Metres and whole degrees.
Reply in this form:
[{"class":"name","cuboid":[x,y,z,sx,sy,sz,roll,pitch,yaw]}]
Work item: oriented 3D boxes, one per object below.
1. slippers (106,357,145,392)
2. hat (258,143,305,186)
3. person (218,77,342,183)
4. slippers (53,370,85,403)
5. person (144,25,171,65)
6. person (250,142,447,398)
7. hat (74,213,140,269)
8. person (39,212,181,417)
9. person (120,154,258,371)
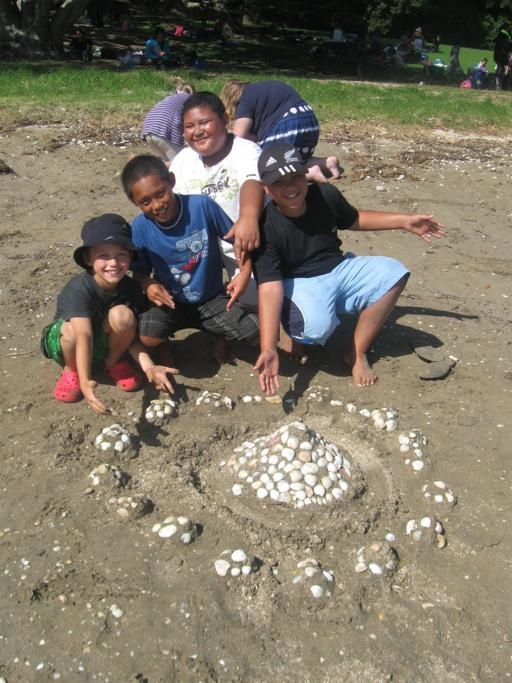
[{"class":"slippers","cuboid":[-0.623,0.164,2.950,0.108,0.074,0.198,-27,33,-21]},{"class":"hat","cuboid":[0.113,-0.775,2.725,0.185,0.172,0.213,-2,22,-9]},{"class":"person","cuboid":[0.150,-1.287,3.721,0.506,0.502,1.075,-31,41,-33]},{"class":"slippers","cuboid":[-0.867,0.207,2.844,0.102,0.074,0.181,0,23,-8]},{"class":"person","cuboid":[-2.070,-6.136,12.940,0.532,0.749,0.941,-1,22,-8]},{"class":"person","cuboid":[0.378,-0.347,2.948,0.864,1.113,0.547,-4,24,-14]},{"class":"hat","cuboid":[-0.679,-0.431,2.766,0.258,0.257,0.244,-3,23,-12]},{"class":"person","cuboid":[-0.628,-0.125,2.764,0.571,0.826,0.713,-10,26,-26]},{"class":"person","cuboid":[-0.287,-0.367,2.996,0.687,0.960,0.526,-2,35,2]}]
